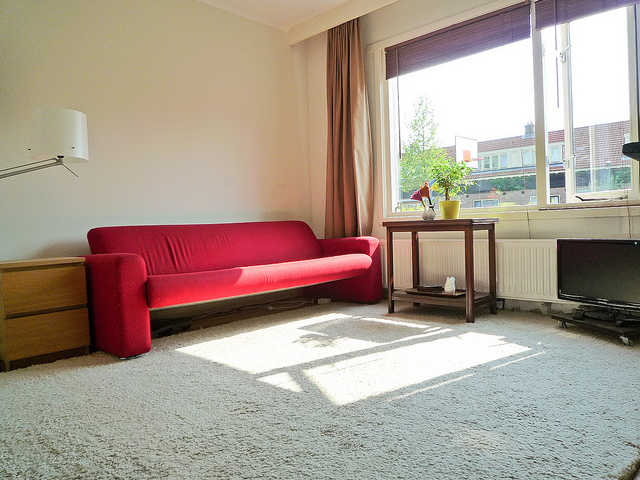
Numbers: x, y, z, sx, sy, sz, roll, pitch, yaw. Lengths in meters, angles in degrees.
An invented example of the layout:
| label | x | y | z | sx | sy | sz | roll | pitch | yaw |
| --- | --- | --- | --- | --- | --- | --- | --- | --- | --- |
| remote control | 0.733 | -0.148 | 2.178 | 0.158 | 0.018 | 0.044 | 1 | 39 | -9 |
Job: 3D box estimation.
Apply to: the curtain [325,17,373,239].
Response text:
| label | x | y | z | sx | sy | sz | roll | pitch | yaw |
| --- | --- | --- | --- | --- | --- | --- | --- | --- | --- |
| curtain | 0.285 | -1.162 | 4.675 | 0.523 | 2.277 | 0.429 | 0 | 9 | 14 |

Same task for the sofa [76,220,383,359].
| label | x | y | z | sx | sy | sz | roll | pitch | yaw |
| --- | --- | --- | --- | --- | --- | --- | --- | --- | --- |
| sofa | -0.739 | 0.295 | 3.869 | 2.345 | 0.968 | 1.169 | -7 | 9 | -32 |

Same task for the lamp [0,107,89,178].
| label | x | y | z | sx | sy | sz | roll | pitch | yaw |
| --- | --- | --- | --- | --- | --- | --- | --- | --- | --- |
| lamp | -1.701 | -0.661 | 3.045 | 0.624 | 0.393 | 0.381 | -1 | -5 | 0 |

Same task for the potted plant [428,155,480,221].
| label | x | y | z | sx | sy | sz | roll | pitch | yaw |
| --- | --- | --- | --- | --- | --- | --- | --- | --- | --- |
| potted plant | 1.153 | -0.484 | 4.160 | 0.564 | 0.722 | 0.666 | 0 | 5 | 11 |

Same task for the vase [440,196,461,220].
| label | x | y | z | sx | sy | sz | roll | pitch | yaw |
| --- | --- | --- | --- | --- | --- | --- | --- | --- | --- |
| vase | 1.156 | -0.273 | 3.869 | 0.208 | 0.183 | 0.230 | 0 | -6 | 1 |

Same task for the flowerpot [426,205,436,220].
| label | x | y | z | sx | sy | sz | roll | pitch | yaw |
| --- | --- | --- | --- | --- | --- | --- | --- | --- | --- |
| flowerpot | 0.994 | -0.250 | 3.979 | 0.111 | 0.159 | 0.116 | -2 | -4 | 16 |
